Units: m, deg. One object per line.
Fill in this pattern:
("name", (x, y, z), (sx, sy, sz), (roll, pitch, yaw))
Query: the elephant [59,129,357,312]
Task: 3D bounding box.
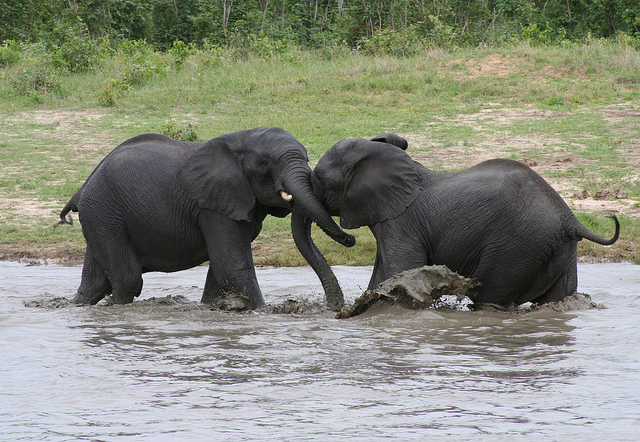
("elephant", (-1.356, 0.134, 12.488), (4.991, 2.273, 1.732), (-3, 0, 31))
